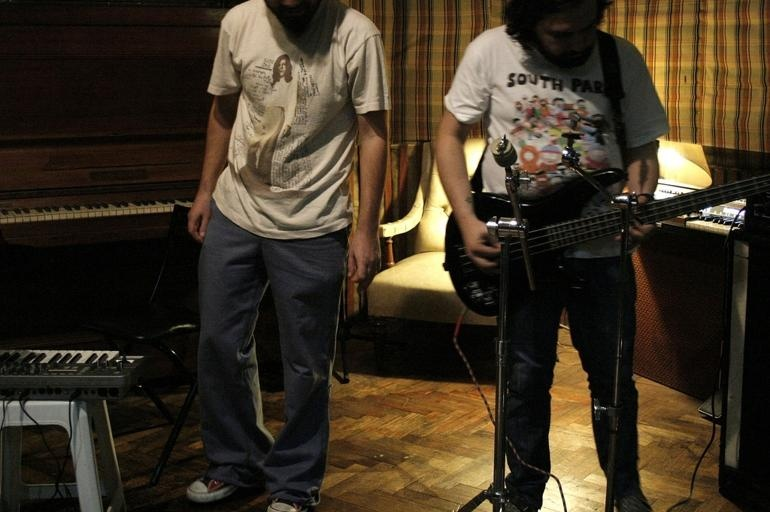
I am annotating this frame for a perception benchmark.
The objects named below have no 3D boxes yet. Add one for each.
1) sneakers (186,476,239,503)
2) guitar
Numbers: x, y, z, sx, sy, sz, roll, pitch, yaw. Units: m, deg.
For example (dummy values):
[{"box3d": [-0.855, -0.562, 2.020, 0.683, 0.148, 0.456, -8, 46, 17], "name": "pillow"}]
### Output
[{"box3d": [-0.721, 0.956, 2.706, 0.212, 0.085, 0.083, 10, 0, -9], "name": "sneakers"}, {"box3d": [0.574, -0.087, 2.328, 1.305, 0.463, 0.128, -13, 0, 19], "name": "guitar"}]
